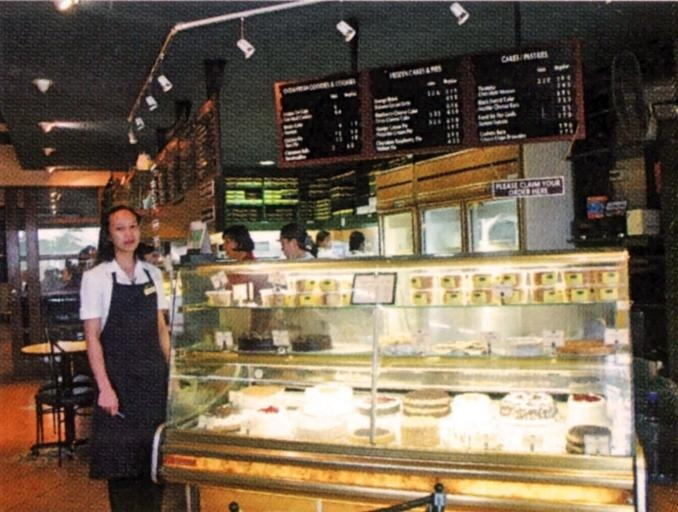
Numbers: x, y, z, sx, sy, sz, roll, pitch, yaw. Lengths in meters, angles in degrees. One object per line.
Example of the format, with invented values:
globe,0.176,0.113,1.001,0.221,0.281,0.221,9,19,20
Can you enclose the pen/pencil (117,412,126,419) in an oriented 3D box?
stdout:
pen/pencil,-1.641,1.203,5.847,0.103,0.027,0.024,15,-12,17

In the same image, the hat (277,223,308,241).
hat,-0.481,-0.226,7.479,0.156,0.111,0.213,0,2,-32
